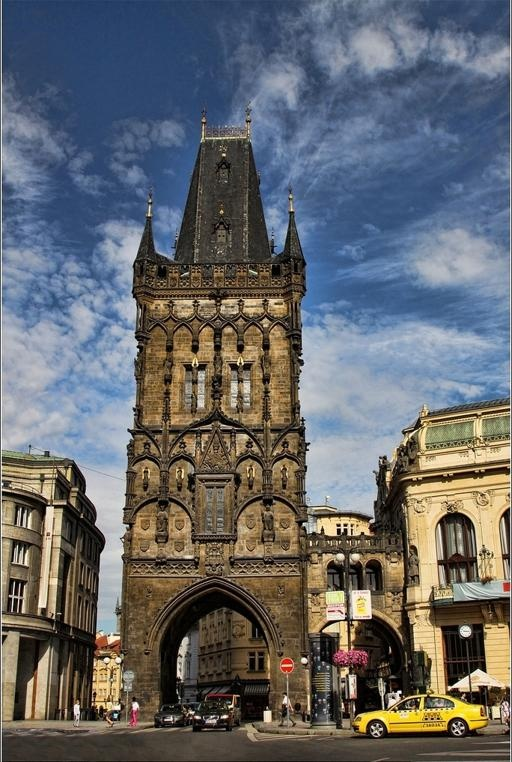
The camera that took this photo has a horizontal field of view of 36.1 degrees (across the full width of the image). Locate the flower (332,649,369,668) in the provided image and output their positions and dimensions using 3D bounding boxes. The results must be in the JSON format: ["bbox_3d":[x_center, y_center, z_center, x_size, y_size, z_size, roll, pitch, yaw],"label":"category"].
[{"bbox_3d":[3.689,10.800,30.958,1.112,0.785,1.143,6,-21,-8],"label":"flower"}]

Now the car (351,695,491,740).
[{"bbox_3d":[4.718,9.831,22.806,3.645,1.211,1.622,-6,-41,14],"label":"car"}]
